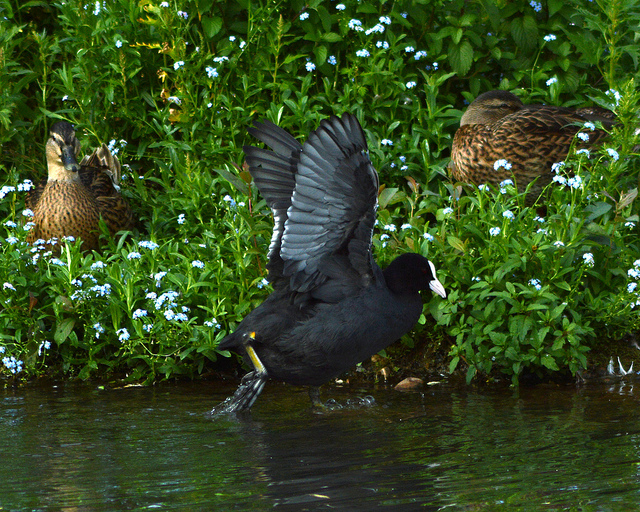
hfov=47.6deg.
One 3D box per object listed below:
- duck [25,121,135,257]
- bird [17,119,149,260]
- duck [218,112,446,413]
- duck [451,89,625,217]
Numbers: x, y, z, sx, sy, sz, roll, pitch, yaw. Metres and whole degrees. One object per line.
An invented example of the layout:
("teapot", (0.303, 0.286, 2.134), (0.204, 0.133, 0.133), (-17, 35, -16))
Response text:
("duck", (-1.909, -0.518, 6.042), (0.854, 0.988, 1.327), (4, 30, -3))
("bird", (-1.953, -0.626, 6.010), (0.884, 1.035, 1.387), (1, 27, -6))
("duck", (0.024, 0.059, 4.061), (0.905, 1.650, 0.665), (2, 6, 33))
("duck", (2.013, -0.985, 6.248), (1.719, 1.015, 0.858), (-8, 3, -10))
